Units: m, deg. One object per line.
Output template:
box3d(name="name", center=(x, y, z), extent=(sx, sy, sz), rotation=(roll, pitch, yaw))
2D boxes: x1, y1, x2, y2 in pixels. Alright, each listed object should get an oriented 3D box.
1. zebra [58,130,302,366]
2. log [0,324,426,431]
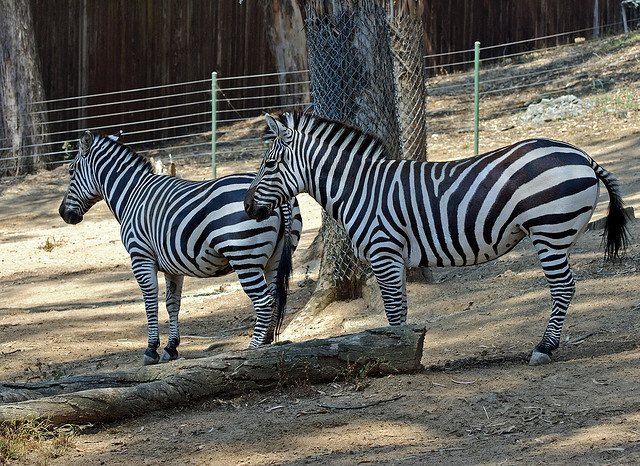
box3d(name="zebra", center=(-2.046, 0.218, 18.076), extent=(4.074, 3.395, 1.376), rotation=(1, 9, 30))
box3d(name="log", center=(-1.281, 1.967, 16.379), extent=(5.312, 0.615, 0.768), rotation=(-4, 18, -5))
